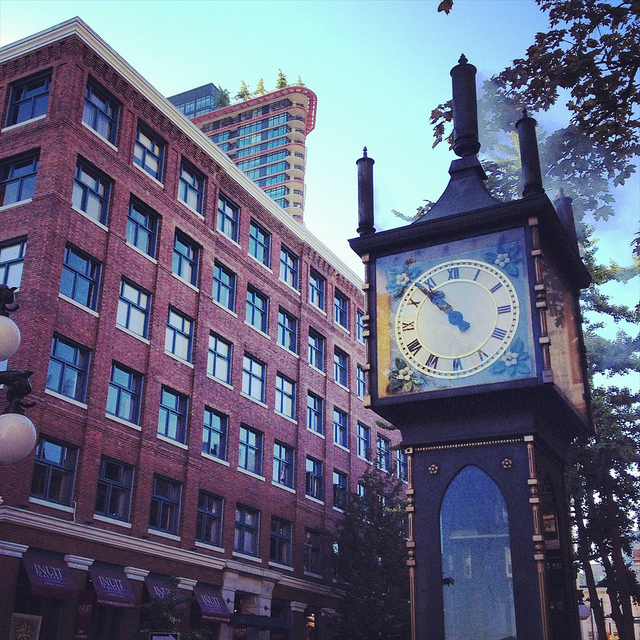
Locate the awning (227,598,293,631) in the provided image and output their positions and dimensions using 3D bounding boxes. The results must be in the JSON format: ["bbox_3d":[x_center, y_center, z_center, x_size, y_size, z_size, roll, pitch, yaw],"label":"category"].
[{"bbox_3d":[-2.616,12.711,35.943,1.628,1.173,4.040,-7,-27,15],"label":"awning"}]

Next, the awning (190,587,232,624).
[{"bbox_3d":[-4.362,11.385,33.427,1.014,1.261,2.234,-8,-27,16],"label":"awning"}]

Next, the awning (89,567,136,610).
[{"bbox_3d":[-7.150,9.124,28.543,0.591,1.320,2.005,-26,-34,22],"label":"awning"}]

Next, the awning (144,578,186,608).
[{"bbox_3d":[-5.667,9.869,30.430,1.592,0.397,1.697,18,-10,9],"label":"awning"}]

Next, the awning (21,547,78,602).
[{"bbox_3d":[-8.677,8.088,26.344,0.773,1.481,2.199,-21,-30,16],"label":"awning"}]
